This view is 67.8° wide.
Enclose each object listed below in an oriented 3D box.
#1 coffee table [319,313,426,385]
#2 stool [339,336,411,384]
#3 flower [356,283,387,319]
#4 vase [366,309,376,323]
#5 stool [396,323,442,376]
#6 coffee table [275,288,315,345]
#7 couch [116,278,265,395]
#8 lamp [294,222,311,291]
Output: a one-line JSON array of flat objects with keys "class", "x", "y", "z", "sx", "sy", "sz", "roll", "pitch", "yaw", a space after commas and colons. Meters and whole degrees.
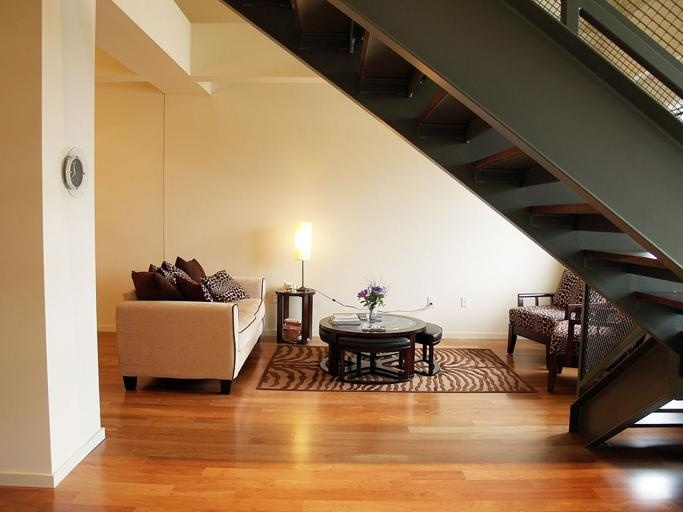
[{"class": "coffee table", "x": 0.305, "y": 0.864, "z": 4.971, "sx": 0.696, "sy": 0.331, "sz": 0.692, "roll": 0, "pitch": 3, "yaw": 3}, {"class": "stool", "x": 0.354, "y": 0.924, "z": 5.029, "sx": 0.677, "sy": 0.451, "sz": 0.787, "roll": 2, "pitch": 9, "yaw": 7}, {"class": "flower", "x": 0.276, "y": 0.462, "z": 5.261, "sx": 0.349, "sy": 0.421, "sz": 0.409, "roll": 2, "pitch": 6, "yaw": 14}, {"class": "vase", "x": 0.308, "y": 0.605, "z": 5.176, "sx": 0.117, "sy": 0.200, "sz": 0.109, "roll": 1, "pitch": 6, "yaw": -1}, {"class": "stool", "x": 0.859, "y": 0.930, "z": 5.132, "sx": 0.474, "sy": 0.496, "sz": 0.480, "roll": -1, "pitch": 3, "yaw": -10}, {"class": "coffee table", "x": -0.432, "y": 0.691, "z": 6.149, "sx": 0.579, "sy": 0.650, "sz": 0.601, "roll": 0, "pitch": 0, "yaw": -2}, {"class": "couch", "x": -1.382, "y": 0.733, "z": 4.929, "sx": 1.024, "sy": 0.827, "sz": 1.173, "roll": 1, "pitch": 9, "yaw": 4}, {"class": "lamp", "x": -0.463, "y": -0.006, "z": 6.161, "sx": 0.216, "sy": 0.802, "sz": 0.418, "roll": 0, "pitch": 9, "yaw": -6}]
